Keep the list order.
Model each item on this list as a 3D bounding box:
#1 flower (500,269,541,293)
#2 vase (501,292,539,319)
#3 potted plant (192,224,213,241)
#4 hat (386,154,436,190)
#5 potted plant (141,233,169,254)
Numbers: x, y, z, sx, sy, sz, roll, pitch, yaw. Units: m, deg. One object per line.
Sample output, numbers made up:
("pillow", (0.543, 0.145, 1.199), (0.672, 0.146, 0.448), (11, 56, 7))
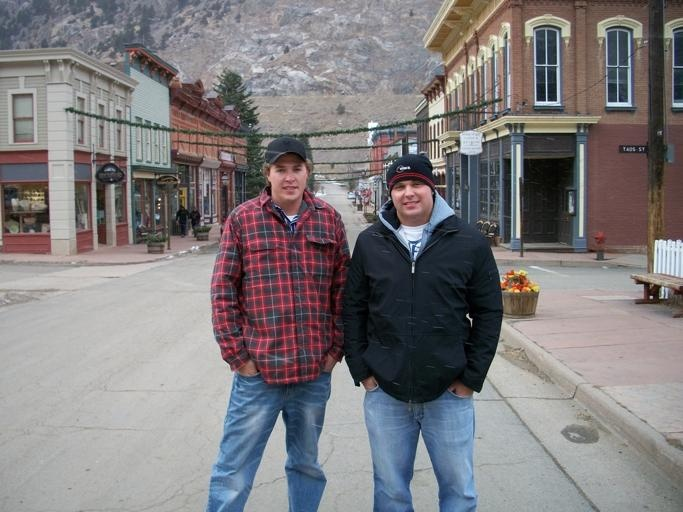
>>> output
("flower", (3.353, 0.506, 11.140), (0.617, 0.335, 0.650), (1, -2, -4))
("vase", (3.365, 0.893, 10.934), (0.634, 0.512, 0.373), (-1, 5, 9))
("potted plant", (-8.428, -1.361, 34.857), (1.058, 0.789, 1.056), (0, 1, 17))
("hat", (0.487, -0.578, 4.002), (0.255, 0.214, 0.270), (1, 12, 19))
("potted plant", (-8.419, -0.517, 26.429), (0.826, 0.834, 0.915), (-4, 5, -23))
